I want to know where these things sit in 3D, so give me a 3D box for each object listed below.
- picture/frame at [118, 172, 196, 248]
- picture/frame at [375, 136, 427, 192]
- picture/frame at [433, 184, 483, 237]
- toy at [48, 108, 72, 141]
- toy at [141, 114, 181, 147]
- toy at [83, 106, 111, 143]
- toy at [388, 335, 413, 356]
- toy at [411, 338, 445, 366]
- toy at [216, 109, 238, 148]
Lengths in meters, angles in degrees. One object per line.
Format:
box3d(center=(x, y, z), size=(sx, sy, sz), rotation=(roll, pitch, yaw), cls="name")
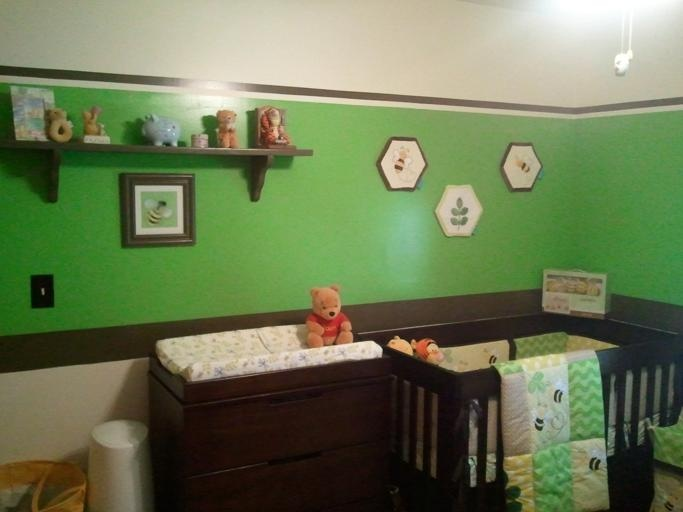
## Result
box3d(center=(-0.966, -0.247, 2.819), size=(0.387, 0.391, 0.042), rotation=(-1, 3, -23), cls="picture/frame")
box3d(center=(0.368, -0.554, 3.322), size=(0.327, 0.313, 0.044), rotation=(-4, 3, -25), cls="picture/frame")
box3d(center=(0.765, -0.288, 3.509), size=(0.045, 0.321, 0.356), rotation=(-3, 4, -41), cls="picture/frame")
box3d(center=(-1.306, -0.597, 2.550), size=(0.046, 0.151, 0.115), rotation=(-8, 4, 45), cls="toy")
box3d(center=(-0.887, -0.613, 2.706), size=(0.185, 0.143, 0.154), rotation=(-4, 18, -26), cls="toy")
box3d(center=(-1.177, -0.617, 2.633), size=(0.113, 0.183, 0.160), rotation=(-4, 3, -24), cls="toy")
box3d(center=(0.346, 0.523, 3.185), size=(0.117, 0.048, 0.116), rotation=(9, 13, -34), cls="toy")
box3d(center=(0.508, 0.552, 3.230), size=(0.108, 0.100, 0.202), rotation=(-3, 9, -31), cls="toy")
box3d(center=(-0.595, -0.650, 2.864), size=(0.100, 0.185, 0.136), rotation=(-3, 3, -11), cls="toy")
